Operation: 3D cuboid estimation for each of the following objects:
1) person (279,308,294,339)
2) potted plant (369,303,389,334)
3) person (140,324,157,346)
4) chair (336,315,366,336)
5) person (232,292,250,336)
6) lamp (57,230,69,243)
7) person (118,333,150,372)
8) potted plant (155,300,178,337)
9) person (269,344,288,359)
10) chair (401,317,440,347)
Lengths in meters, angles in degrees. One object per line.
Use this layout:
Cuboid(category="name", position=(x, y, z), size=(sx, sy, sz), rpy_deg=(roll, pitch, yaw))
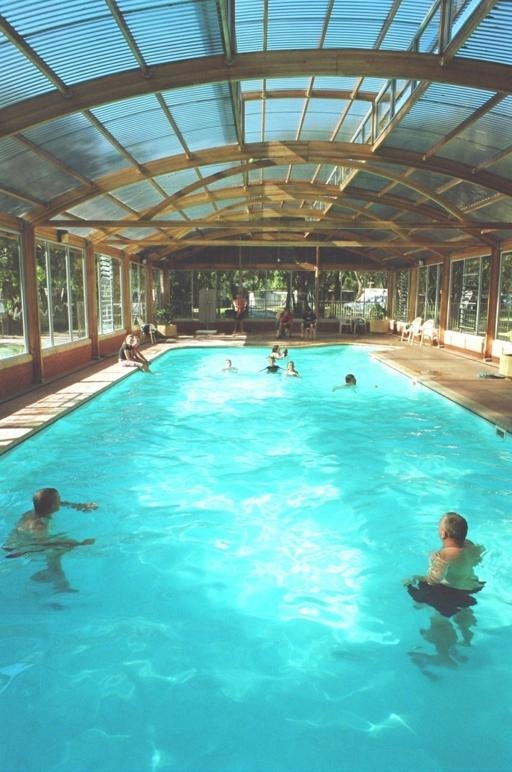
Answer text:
Cuboid(category="person", position=(1.219, -2.700, 22.110), size=(0.569, 1.216, 1.423), rpy_deg=(1, 9, 2))
Cuboid(category="potted plant", position=(5.732, -3.220, 24.562), size=(1.064, 1.410, 0.962), rpy_deg=(0, 9, -5))
Cuboid(category="person", position=(-4.050, -1.918, 19.617), size=(0.522, 0.786, 0.575), rpy_deg=(-19, 39, -28))
Cuboid(category="chair", position=(4.482, -2.862, 24.418), size=(1.288, 0.740, 0.782), rpy_deg=(1, 9, 0))
Cuboid(category="person", position=(-0.736, -3.411, 24.026), size=(0.672, 1.895, 1.321), rpy_deg=(0, 9, -2))
Cuboid(category="lamp", position=(-4.144, -3.211, 11.230), size=(0.181, 0.339, 0.340), rpy_deg=(3, 10, 10))
Cuboid(category="person", position=(-3.043, -0.815, 12.933), size=(0.604, 0.865, 0.907), rpy_deg=(-3, 10, -20))
Cuboid(category="potted plant", position=(-4.033, -2.980, 23.344), size=(0.884, 1.417, 3.120), rpy_deg=(-1, 9, -8))
Cuboid(category="person", position=(0.694, -1.026, 16.031), size=(0.322, 0.446, 1.016), rpy_deg=(0, -2, 3))
Cuboid(category="chair", position=(6.197, -2.004, 19.675), size=(0.473, 0.717, 1.373), rpy_deg=(-3, 8, -11))
